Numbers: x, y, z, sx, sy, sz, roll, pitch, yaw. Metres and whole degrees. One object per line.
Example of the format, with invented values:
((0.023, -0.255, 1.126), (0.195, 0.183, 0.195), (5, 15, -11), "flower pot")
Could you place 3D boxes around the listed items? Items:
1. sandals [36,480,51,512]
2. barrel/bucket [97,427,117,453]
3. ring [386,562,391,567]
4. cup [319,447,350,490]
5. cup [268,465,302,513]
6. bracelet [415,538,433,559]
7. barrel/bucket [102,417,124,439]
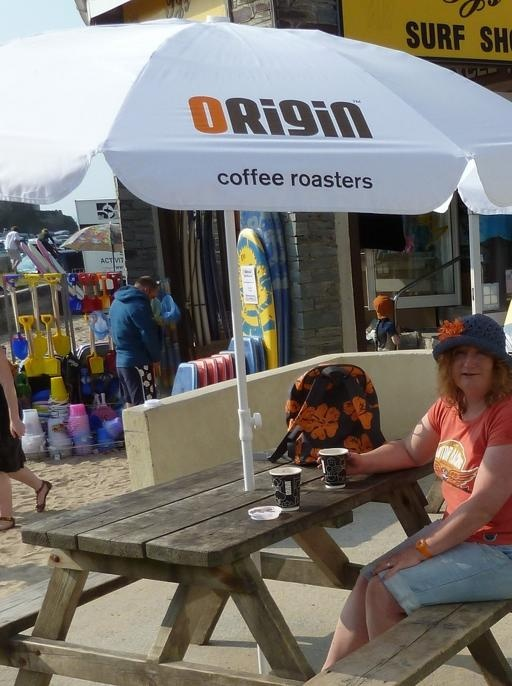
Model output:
((-1.865, 1.324, 5.183), (0.107, 0.281, 0.122), (8, -2, 44), "sandals")
((-1.865, 1.205, 7.289), (0.272, 0.249, 0.253), (-1, 2, 0), "barrel/bucket")
((0.407, 0.684, 1.822), (0.008, 0.014, 0.003), (15, -7, 23), "ring")
((0.279, 0.443, 2.092), (0.139, 0.122, 0.125), (-1, 1, 3), "cup")
((0.110, 0.474, 1.941), (0.132, 0.116, 0.126), (-3, 1, 0), "cup")
((0.503, 0.625, 1.810), (0.048, 0.056, 0.030), (-11, -27, -46), "bracelet")
((-1.847, 1.115, 7.426), (0.243, 0.267, 0.274), (-21, -13, -24), "barrel/bucket")
